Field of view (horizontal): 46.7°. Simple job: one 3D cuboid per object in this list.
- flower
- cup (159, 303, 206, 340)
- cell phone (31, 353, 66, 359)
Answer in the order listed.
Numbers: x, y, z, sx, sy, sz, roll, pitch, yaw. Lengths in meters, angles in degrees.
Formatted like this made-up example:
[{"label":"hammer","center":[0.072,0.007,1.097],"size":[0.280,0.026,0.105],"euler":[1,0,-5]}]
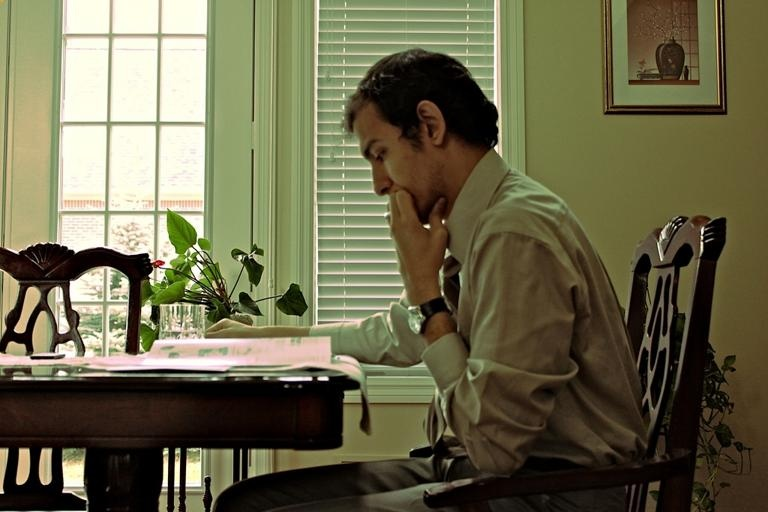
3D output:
[{"label":"flower","center":[-0.721,0.088,3.777],"size":[0.607,0.637,0.260],"euler":[-23,10,-28]},{"label":"cup","center":[-0.785,0.256,3.483],"size":[0.178,0.147,0.180],"euler":[0,-5,0]},{"label":"cell phone","center":[-1.115,0.330,2.936],"size":[0.111,0.015,0.111],"euler":[1,-3,-22]}]
